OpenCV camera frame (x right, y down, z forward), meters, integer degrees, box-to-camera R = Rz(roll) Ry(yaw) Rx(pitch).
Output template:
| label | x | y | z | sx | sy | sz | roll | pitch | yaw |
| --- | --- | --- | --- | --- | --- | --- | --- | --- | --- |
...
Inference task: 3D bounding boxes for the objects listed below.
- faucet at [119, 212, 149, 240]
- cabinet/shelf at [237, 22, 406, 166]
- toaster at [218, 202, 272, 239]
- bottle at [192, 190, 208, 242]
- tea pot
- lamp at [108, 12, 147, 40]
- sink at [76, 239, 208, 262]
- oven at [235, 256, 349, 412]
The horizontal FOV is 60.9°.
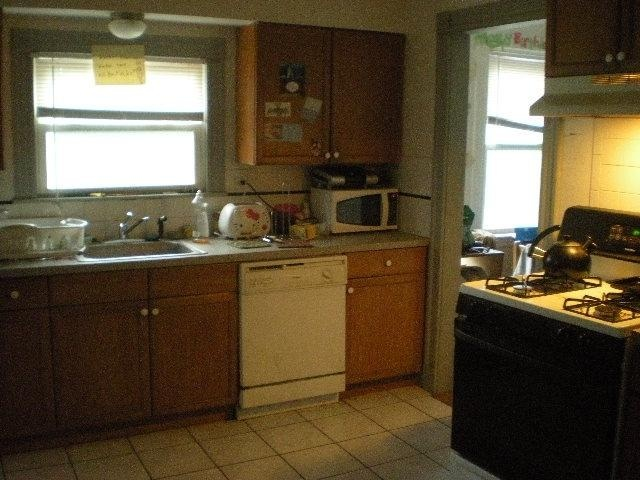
| label | x | y | z | sx | sy | sz | roll | pitch | yaw |
| --- | --- | --- | --- | --- | --- | --- | --- | --- | --- |
| faucet | -1.210 | -0.096 | 3.528 | 0.192 | 0.174 | 0.130 | -3 | 13 | -18 |
| cabinet/shelf | -0.039 | -1.013 | 3.651 | 1.015 | 0.757 | 0.384 | -2 | 10 | -20 |
| toaster | -0.530 | -0.148 | 3.684 | 0.346 | 0.227 | 0.245 | -5 | 15 | -32 |
| bottle | -0.811 | -0.183 | 3.672 | 0.119 | 0.299 | 0.253 | -2 | 13 | -13 |
| tea pot | 1.165 | 0.066 | 2.686 | 0.323 | 0.280 | 0.213 | -3 | 0 | 15 |
| lamp | -1.194 | -1.316 | 3.350 | 0.162 | 0.101 | 0.161 | 1 | 9 | 13 |
| sink | -1.098 | 0.053 | 3.459 | 0.708 | 0.091 | 0.269 | 2 | 13 | 1 |
| oven | -0.083 | 0.548 | 3.860 | 0.894 | 1.237 | 0.898 | -2 | 3 | -22 |
